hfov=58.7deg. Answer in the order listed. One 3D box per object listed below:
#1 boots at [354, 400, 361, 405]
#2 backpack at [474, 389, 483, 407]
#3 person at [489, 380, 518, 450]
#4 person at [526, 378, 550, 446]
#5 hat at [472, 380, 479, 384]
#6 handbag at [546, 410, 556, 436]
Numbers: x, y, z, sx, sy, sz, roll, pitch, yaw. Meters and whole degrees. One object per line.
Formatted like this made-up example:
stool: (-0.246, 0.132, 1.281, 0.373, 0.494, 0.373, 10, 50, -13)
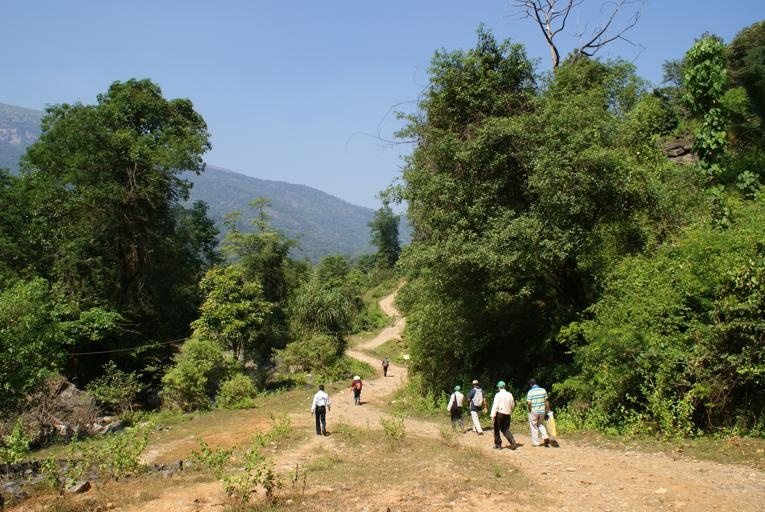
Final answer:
boots: (-1.563, 9.164, 42.657, 0.349, 0.378, 0.764, -3, 7, -5)
backpack: (4.606, 6.873, 32.639, 0.462, 0.894, 0.340, -4, 8, -11)
person: (5.366, 7.021, 30.172, 1.035, 2.998, 1.281, -2, 8, 10)
person: (6.910, 6.924, 30.252, 0.840, 2.951, 0.975, -1, 8, 17)
hat: (4.454, 6.100, 32.568, 0.303, 0.134, 0.457, -2, -9, 4)
handbag: (7.568, 7.606, 30.698, 0.381, 1.624, 0.457, -8, 35, 18)
